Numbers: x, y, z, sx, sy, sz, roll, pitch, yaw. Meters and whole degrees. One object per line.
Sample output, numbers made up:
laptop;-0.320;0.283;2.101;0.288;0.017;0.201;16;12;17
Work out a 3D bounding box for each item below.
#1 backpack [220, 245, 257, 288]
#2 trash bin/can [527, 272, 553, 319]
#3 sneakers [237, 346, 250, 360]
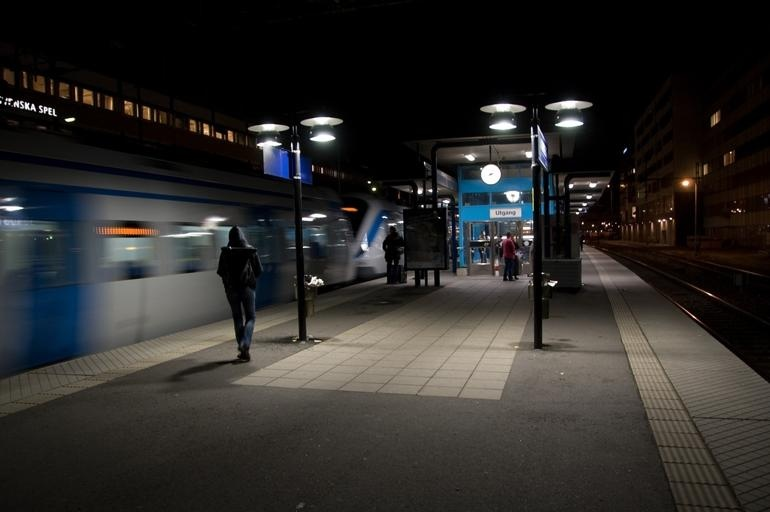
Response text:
backpack;-2.629;0.217;9.352;0.856;0.787;0.486;8;8;4
trash bin/can;2.719;0.765;9.654;0.396;0.695;0.779;-9;-2;41
sneakers;-2.495;1.719;9.086;0.231;0.270;0.164;-1;7;1
